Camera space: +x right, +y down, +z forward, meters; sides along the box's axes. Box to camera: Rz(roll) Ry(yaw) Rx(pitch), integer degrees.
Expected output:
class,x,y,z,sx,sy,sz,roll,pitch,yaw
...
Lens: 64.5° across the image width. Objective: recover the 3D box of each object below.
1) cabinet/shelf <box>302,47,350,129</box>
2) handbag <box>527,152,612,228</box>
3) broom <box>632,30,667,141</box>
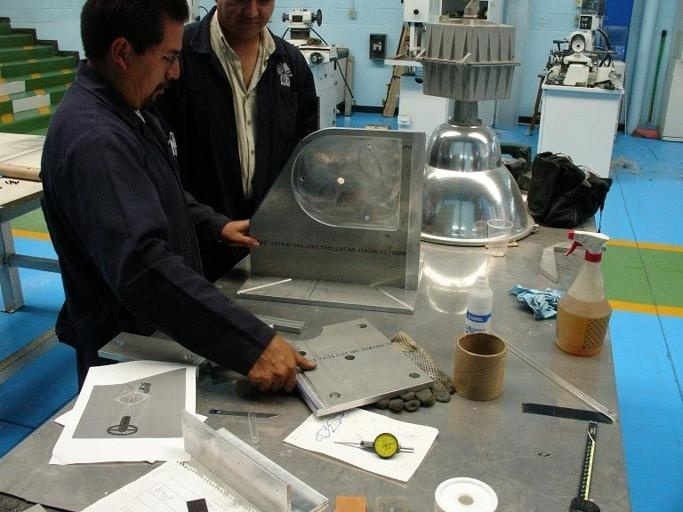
class,x,y,z,sx,sy,sz,roll,pitch,yaw
cabinet/shelf,-0.106,-2.537,8.490,0.572,0.932,1.650,-9,9,-16
handbag,1.038,-0.310,2.493,0.305,0.304,0.339,-2,16,-2
broom,4.462,-2.397,7.719,0.343,1.414,0.353,6,18,15
